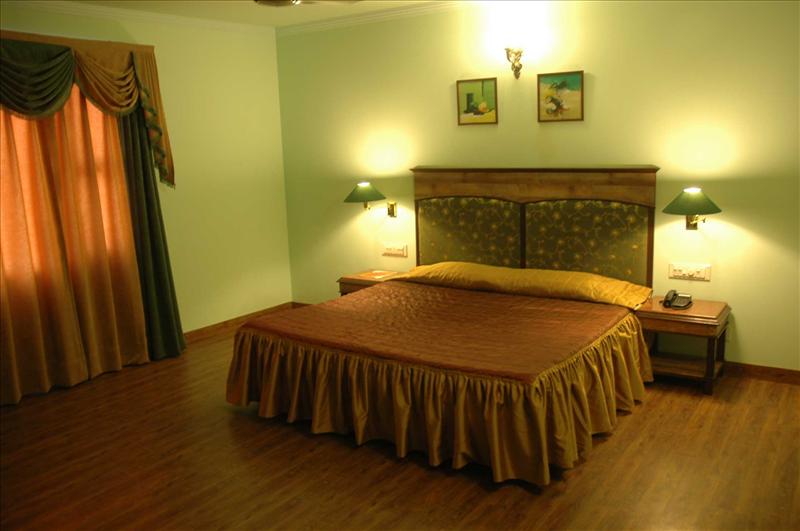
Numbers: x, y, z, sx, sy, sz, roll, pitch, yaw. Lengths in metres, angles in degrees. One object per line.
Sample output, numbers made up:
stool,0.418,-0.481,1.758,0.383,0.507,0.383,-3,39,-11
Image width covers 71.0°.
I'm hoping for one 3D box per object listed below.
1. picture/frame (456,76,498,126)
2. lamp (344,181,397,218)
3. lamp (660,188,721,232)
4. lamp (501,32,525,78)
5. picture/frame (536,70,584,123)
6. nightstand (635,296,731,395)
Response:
picture/frame,0.814,-1.714,5.786,0.482,0.507,0.047,7,18,32
lamp,-0.316,-0.732,6.364,0.407,0.370,0.504,1,11,36
lamp,2.558,-0.486,4.902,0.433,0.391,0.385,6,14,30
lamp,1.124,-2.073,5.548,0.192,0.431,0.073,3,14,20
picture/frame,1.563,-1.653,5.420,0.493,0.517,0.050,6,17,28
nightstand,2.503,0.696,5.039,0.667,0.677,0.546,5,16,40
